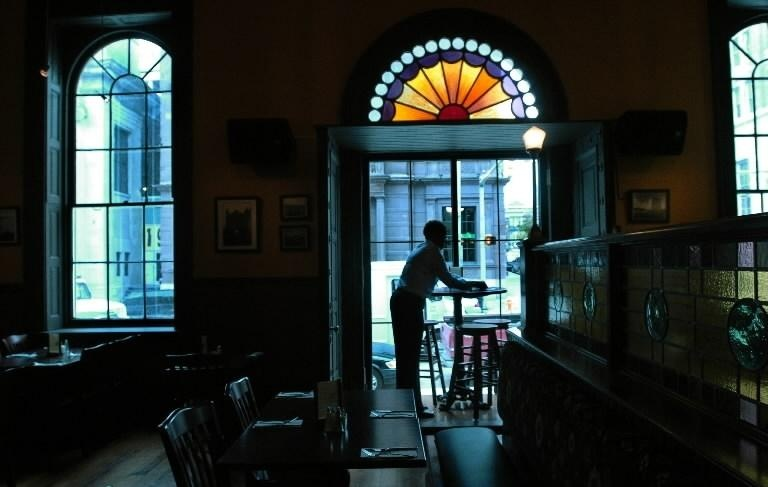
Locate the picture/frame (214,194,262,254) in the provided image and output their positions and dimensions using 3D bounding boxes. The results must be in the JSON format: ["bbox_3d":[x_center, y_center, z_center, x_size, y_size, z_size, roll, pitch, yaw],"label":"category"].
[{"bbox_3d":[-1.800,-0.218,8.213,0.683,0.842,0.059,-1,-2,-1],"label":"picture/frame"}]

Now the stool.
[{"bbox_3d":[1.196,1.610,8.718,1.130,1.606,1.155,2,-3,-6],"label":"stool"}]

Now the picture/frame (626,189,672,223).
[{"bbox_3d":[3.169,-0.451,8.074,0.396,0.355,0.038,1,-2,-3],"label":"picture/frame"}]

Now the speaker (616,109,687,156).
[{"bbox_3d":[3.153,-1.306,7.970,0.791,0.548,0.273,-2,0,-1],"label":"speaker"}]

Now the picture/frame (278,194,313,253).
[{"bbox_3d":[-1.097,-0.248,8.211,0.361,0.607,0.070,-2,0,-9],"label":"picture/frame"}]

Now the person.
[{"bbox_3d":[0.516,1.054,8.103,0.892,2.176,0.313,-2,0,3],"label":"person"}]

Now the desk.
[{"bbox_3d":[0.988,1.053,8.319,0.896,1.030,0.911,-1,-9,2],"label":"desk"}]
